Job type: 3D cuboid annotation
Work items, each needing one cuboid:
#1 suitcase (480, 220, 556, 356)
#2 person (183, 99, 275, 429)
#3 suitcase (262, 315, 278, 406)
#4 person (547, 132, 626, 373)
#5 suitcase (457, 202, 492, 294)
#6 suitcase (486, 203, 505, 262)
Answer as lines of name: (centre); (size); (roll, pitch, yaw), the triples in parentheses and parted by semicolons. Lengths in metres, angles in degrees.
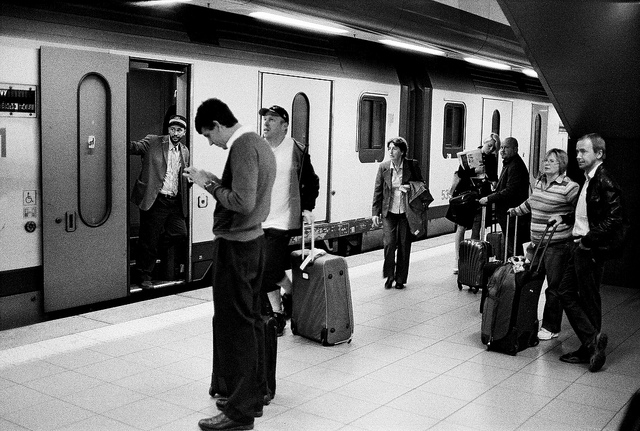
suitcase: (2.194, 0.772, 5.768); (0.713, 1.466, 0.391); (-2, 9, -17)
person: (-0.737, 0.389, 4.204); (0.667, 2.615, 0.552); (1, 9, 1)
suitcase: (-0.439, 1.249, 4.551); (0.097, 0.792, 0.299); (4, 9, 18)
person: (2.791, 0.363, 5.434); (0.644, 2.395, 0.627); (6, 10, 29)
suitcase: (2.384, 0.457, 8.008); (0.456, 1.413, 0.398); (6, 3, 31)
suitcase: (2.892, 0.308, 8.600); (0.250, 1.003, 0.165); (-7, 4, 39)
